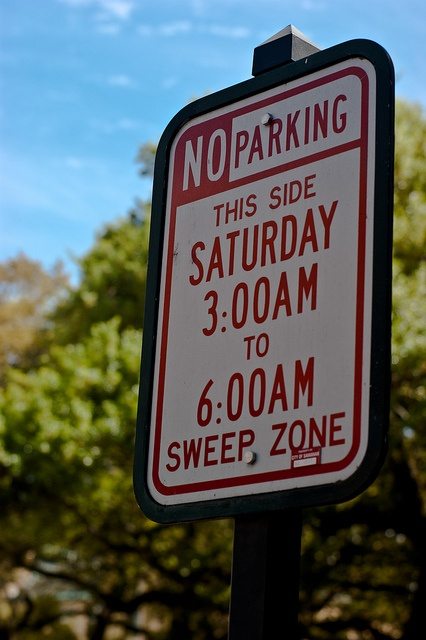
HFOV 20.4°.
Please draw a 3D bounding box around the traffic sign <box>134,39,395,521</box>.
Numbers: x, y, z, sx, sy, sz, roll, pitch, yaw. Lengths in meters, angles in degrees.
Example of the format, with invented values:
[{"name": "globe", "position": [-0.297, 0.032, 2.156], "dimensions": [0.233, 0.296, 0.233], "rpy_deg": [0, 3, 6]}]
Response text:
[{"name": "traffic sign", "position": [0.142, -0.062, 2.815], "dimensions": [0.753, 1.414, 0.099], "rpy_deg": [-24, -38, 39]}]
